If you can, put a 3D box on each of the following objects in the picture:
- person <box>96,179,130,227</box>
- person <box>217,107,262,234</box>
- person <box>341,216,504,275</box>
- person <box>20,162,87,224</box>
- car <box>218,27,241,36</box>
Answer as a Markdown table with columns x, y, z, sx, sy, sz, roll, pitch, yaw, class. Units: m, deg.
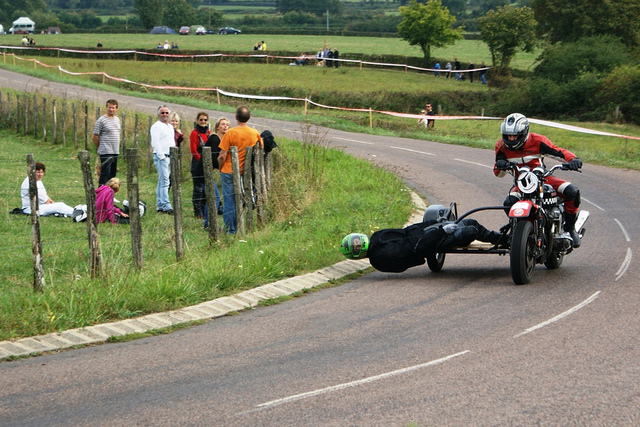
| x | y | z | sx | sy | sz | roll | pitch | yaw | class |
| --- | --- | --- | --- | --- | --- | --- | --- | --- | --- |
| -5.244 | -0.275 | 22.255 | 0.944 | 1.118 | 0.899 | 4 | 6 | -18 | person |
| -1.978 | -1.010 | 20.898 | 0.553 | 2.954 | 0.912 | 12 | 17 | 39 | person |
| 2.057 | 0.651 | 18.383 | 3.071 | 1.049 | 1.258 | -2 | 9 | 1 | person |
| -6.733 | -0.612 | 22.710 | 2.032 | 1.481 | 0.857 | -1 | 7 | 19 | person |
| -14.559 | -28.466 | 140.027 | 3.564 | 1.152 | 1.859 | 0 | 15 | 2 | car |
